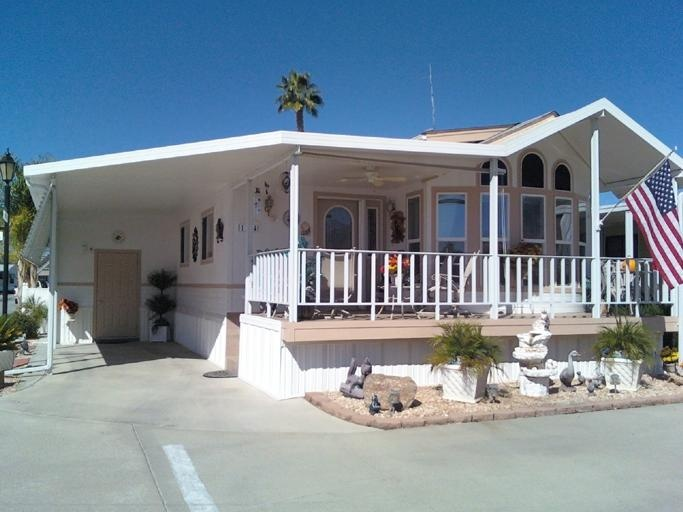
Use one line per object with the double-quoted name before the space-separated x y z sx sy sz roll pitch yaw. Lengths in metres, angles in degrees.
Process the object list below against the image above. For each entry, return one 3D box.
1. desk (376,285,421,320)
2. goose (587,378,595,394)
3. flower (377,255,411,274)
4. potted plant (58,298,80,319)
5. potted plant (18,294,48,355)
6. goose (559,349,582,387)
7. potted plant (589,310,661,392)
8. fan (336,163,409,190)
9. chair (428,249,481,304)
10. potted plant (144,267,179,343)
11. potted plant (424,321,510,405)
"desk" 1.196 0.880 12.321 0.909 0.537 2.590 1 6 3
"goose" 4.522 2.359 10.840 0.128 0.196 0.349 3 7 23
"flower" 1.111 0.151 12.410 0.495 0.385 0.512 2 -5 -30
"potted plant" -7.677 1.477 16.864 0.533 0.574 0.473 -3 7 -32
"potted plant" -8.984 2.019 17.457 1.105 1.422 1.008 -6 -8 44
"goose" 4.302 2.080 11.299 0.265 0.803 1.044 3 6 22
"potted plant" 5.435 1.884 11.783 1.162 1.661 1.234 1 -5 0
"fan" 0.645 -1.718 12.754 1.281 0.410 2.222 1 6 1
"chair" 2.175 0.454 11.765 0.812 1.168 2.537 2 6 10
"potted plant" -5.262 1.444 17.476 0.886 2.118 0.531 -1 6 -20
"potted plant" 2.077 1.752 10.383 1.161 1.395 1.261 3 -3 -22
